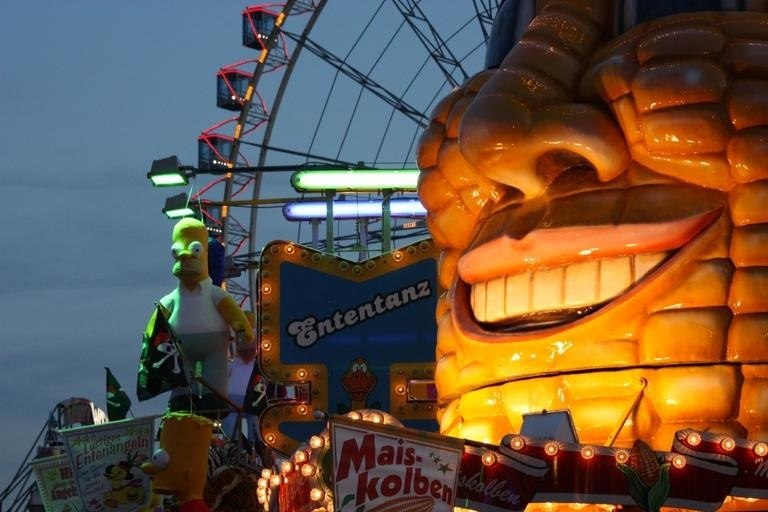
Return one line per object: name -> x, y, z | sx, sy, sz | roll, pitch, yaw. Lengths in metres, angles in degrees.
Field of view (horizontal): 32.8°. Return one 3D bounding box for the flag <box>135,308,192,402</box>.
flag -> -2.422, 1.034, 14.483 | 0.576, 1.130, 0.650 | 2, -11, -10
